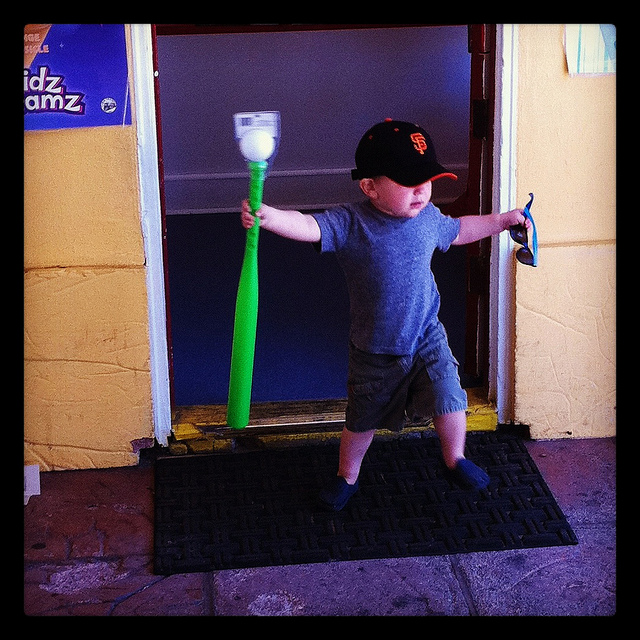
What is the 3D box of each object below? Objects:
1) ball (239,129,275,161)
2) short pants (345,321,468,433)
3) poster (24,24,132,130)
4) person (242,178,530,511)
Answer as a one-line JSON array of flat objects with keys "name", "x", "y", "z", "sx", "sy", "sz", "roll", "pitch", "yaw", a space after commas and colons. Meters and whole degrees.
[{"name": "ball", "x": -0.140, "y": -0.385, "z": 1.441, "sx": 0.066, "sy": 0.067, "sz": 0.040, "roll": 7, "pitch": 7, "yaw": -12}, {"name": "short pants", "x": 0.254, "y": 0.179, "z": 1.959, "sx": 0.352, "sy": 0.320, "sz": 0.161, "roll": 1, "pitch": 14, "yaw": 3}, {"name": "poster", "x": -0.713, "y": -0.708, "z": 1.902, "sx": 0.300, "sy": 0.295, "sz": 0.098, "roll": -6, "pitch": 15, "yaw": -22}, {"name": "person", "x": 0.236, "y": 0.127, "z": 2.252, "sx": 1.162, "sy": 1.380, "sz": 0.450, "roll": -10, "pitch": 14, "yaw": -30}]
